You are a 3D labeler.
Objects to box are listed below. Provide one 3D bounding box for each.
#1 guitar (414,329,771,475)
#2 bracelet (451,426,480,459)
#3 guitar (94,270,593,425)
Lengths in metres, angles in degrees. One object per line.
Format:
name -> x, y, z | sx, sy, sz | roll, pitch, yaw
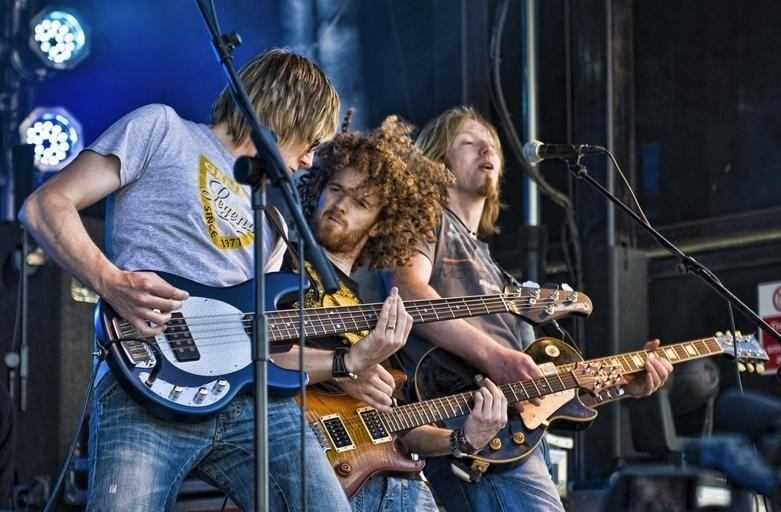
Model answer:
guitar -> 1.118, 0.654, 5.967 | 1.979, 0.722, 0.192 | -16, 8, 30
bracelet -> 0.379, 1.011, 5.732 | 0.135, 0.114, 0.152 | -47, 9, -6
guitar -> -0.351, 0.403, 5.371 | 2.188, 0.699, 0.422 | -1, -9, -35
